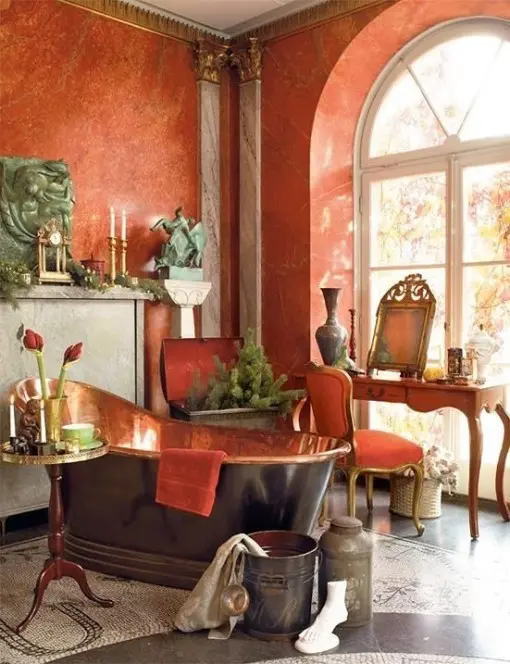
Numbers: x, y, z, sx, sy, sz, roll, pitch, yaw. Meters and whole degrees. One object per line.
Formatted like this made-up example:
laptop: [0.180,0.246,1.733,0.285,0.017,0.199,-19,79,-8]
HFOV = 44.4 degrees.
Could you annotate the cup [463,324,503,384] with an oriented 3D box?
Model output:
cup: [1.313,0.115,3.615,0.212,0.306,0.189,-3,7,-6]

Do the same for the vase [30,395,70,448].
vase: [-0.679,0.327,2.221,0.155,0.172,0.158,0,-2,1]

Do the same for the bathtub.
bathtub: [-0.315,0.669,2.743,1.583,0.664,0.643,1,3,26]

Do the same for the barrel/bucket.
barrel/bucket: [0.082,0.873,2.195,0.317,0.259,0.299,1,-3,0]

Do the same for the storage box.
storage box: [-0.251,0.326,3.577,0.618,0.452,0.588,2,11,-15]

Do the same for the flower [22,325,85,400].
flower: [-0.997,0.153,3.058,0.372,0.444,0.131,6,-13,-37]

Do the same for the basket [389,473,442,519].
basket: [0.956,0.961,3.709,0.335,0.239,0.323,10,-7,-16]

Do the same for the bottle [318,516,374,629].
bottle: [0.318,0.851,2.208,0.199,0.359,0.160,0,-1,-16]

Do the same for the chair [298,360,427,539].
chair: [0.561,0.614,3.375,0.592,0.869,0.553,0,1,-9]

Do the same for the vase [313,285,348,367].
vase: [0.487,-0.036,3.943,0.196,0.491,0.194,0,-1,35]

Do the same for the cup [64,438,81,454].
cup: [-0.624,0.390,2.139,0.047,0.048,0.044,1,1,0]

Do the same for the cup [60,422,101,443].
cup: [-0.632,0.372,2.291,0.107,0.078,0.133,-8,-11,41]
